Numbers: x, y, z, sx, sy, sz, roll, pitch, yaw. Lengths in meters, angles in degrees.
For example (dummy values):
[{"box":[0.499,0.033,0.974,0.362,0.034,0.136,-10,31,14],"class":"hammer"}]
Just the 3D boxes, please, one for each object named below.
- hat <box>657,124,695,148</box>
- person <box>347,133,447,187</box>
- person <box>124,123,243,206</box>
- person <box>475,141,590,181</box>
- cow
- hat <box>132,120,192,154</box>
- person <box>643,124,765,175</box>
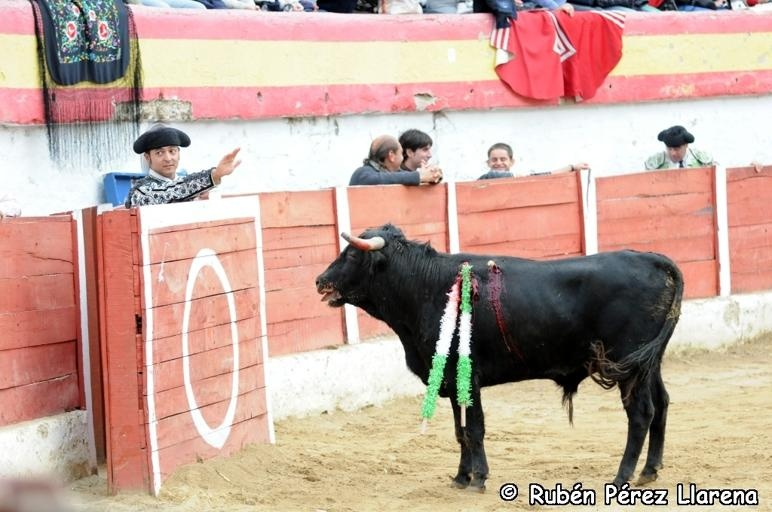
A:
[{"box":[3.527,-1.389,12.853,0.350,0.176,0.358,5,8,34],"class":"hat"},{"box":[0.096,-0.942,10.972,0.863,0.455,0.592,4,23,0],"class":"person"},{"box":[-1.931,-0.832,9.986,1.002,0.954,0.362,-7,-8,-30],"class":"person"},{"box":[1.667,-1.042,11.975,1.096,0.413,1.186,3,12,19],"class":"person"},{"box":[0.908,0.873,9.015,3.029,2.029,1.047,1,0,12],"class":"cow"},{"box":[-1.846,-0.942,8.817,0.429,0.220,0.175,-3,12,-7],"class":"hat"},{"box":[3.565,-1.277,13.014,0.767,0.529,1.157,2,12,15],"class":"person"}]
